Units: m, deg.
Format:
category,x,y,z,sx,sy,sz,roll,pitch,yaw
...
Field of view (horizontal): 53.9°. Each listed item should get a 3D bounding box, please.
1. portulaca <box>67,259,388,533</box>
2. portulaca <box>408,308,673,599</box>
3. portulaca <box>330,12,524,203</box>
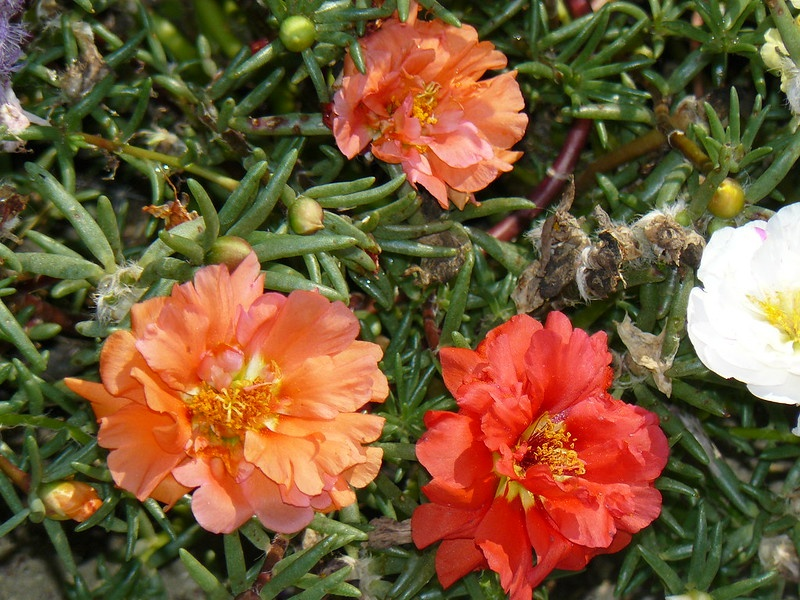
category,x,y,z,sx,sy,sz,roll,pitch,yaw
portulaca,-0.264,0.193,1.312,0.517,0.218,0.521,0,30,20
portulaca,0.225,0.273,1.345,0.435,0.512,0.189,2,-3,-7
portulaca,0.066,-0.377,1.501,0.336,0.390,0.183,2,-6,-20
